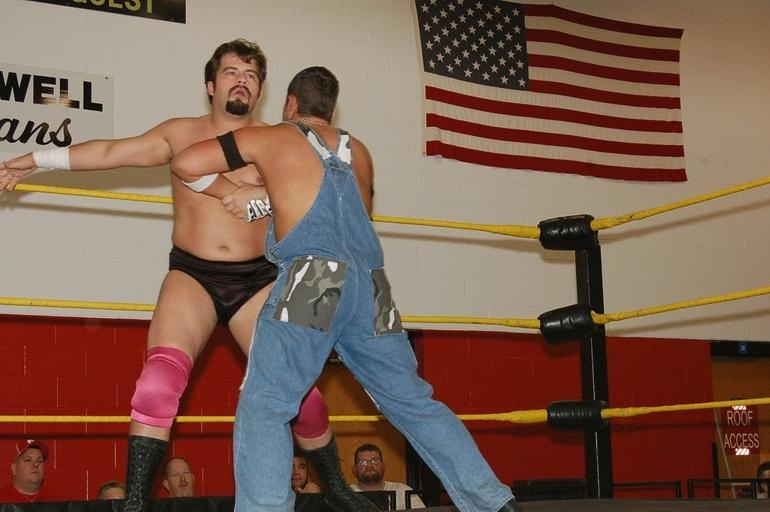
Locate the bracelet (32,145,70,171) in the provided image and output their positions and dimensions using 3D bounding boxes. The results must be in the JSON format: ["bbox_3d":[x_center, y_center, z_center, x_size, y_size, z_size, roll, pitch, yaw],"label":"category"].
[{"bbox_3d":[-1.937,-0.562,5.648,0.200,0.116,0.084,2,-11,-5],"label":"bracelet"}]
